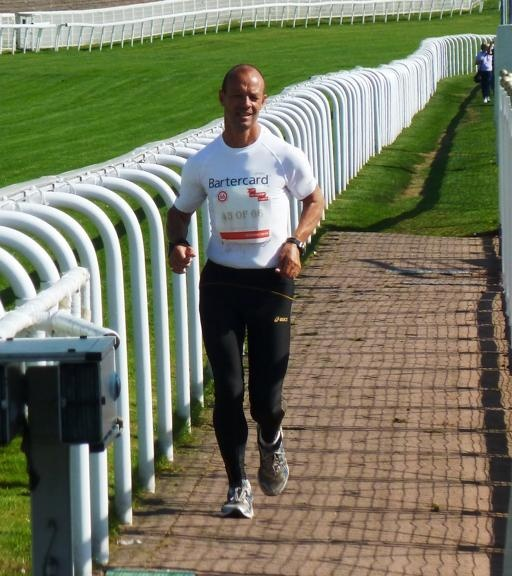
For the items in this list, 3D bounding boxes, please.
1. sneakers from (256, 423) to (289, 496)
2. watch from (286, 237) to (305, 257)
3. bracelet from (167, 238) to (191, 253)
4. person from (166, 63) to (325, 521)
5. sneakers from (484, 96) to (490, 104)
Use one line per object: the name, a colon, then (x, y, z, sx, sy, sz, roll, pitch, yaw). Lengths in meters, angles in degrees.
sneakers: (0.066, 0.659, 4.664, 0.109, 0.266, 0.110, -1, 7, 6)
watch: (0.154, -0.150, 4.477, 0.030, 0.069, 0.051, -42, 17, 6)
bracelet: (-0.298, -0.154, 4.541, 0.061, 0.046, 0.059, -15, 37, 34)
person: (-0.053, 0.028, 4.546, 0.607, 1.672, 0.613, 0, 18, 2)
sneakers: (3.992, -3.235, 20.939, 0.077, 0.087, 0.217, -2, 4, 20)
